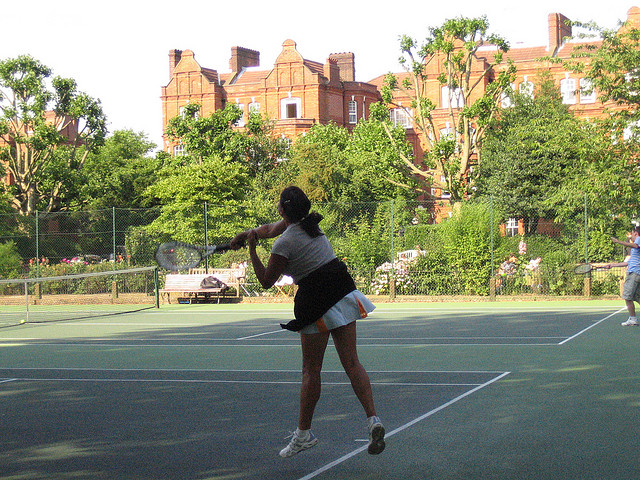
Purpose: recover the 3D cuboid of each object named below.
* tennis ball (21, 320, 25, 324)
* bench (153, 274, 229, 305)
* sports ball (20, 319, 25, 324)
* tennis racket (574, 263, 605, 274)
[{"bbox_3d":[-8.042,2.225,21.539,0.112,0.127,0.113,1,-3,0],"label":"tennis ball"},{"bbox_3d":[-4.184,1.600,26.023,2.518,1.006,0.945,-4,-5,23],"label":"bench"},{"bbox_3d":[-8.124,2.222,21.725,0.160,0.125,0.159,0,-4,0],"label":"sports ball"},{"bbox_3d":[7.628,0.821,23.037,0.543,0.298,3.485,-4,-5,17],"label":"tennis racket"}]
